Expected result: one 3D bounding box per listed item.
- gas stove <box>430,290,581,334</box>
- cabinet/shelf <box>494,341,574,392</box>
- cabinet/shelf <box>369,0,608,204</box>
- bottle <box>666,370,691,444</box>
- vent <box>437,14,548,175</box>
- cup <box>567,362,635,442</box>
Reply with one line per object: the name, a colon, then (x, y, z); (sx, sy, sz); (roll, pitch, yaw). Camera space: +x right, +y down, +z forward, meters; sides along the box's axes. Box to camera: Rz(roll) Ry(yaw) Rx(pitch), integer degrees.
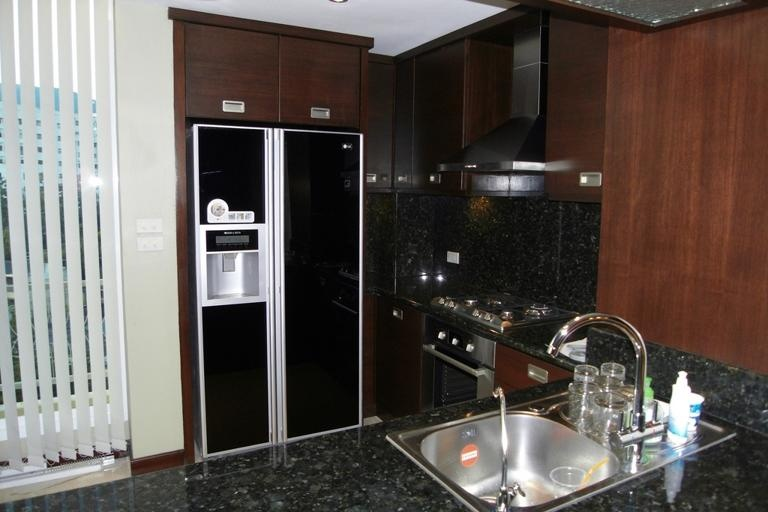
gas stove: (0.757, 0.347, 3.979); (0.618, 0.089, 0.853); (-8, 10, -32)
cabinet/shelf: (0.856, 0.638, 3.427); (0.267, 0.318, 0.479); (-3, 8, -22)
cabinet/shelf: (0.675, -0.984, 3.752); (0.428, 0.743, 1.272); (-2, 6, -26)
bottle: (1.258, 0.627, 2.556); (0.084, 0.254, 0.170); (2, 10, 26)
vent: (0.751, -0.960, 3.619); (0.492, 0.933, 0.663); (-10, 12, -38)
cup: (0.921, 0.625, 2.619); (0.257, 0.135, 0.319); (-5, 13, -14)
